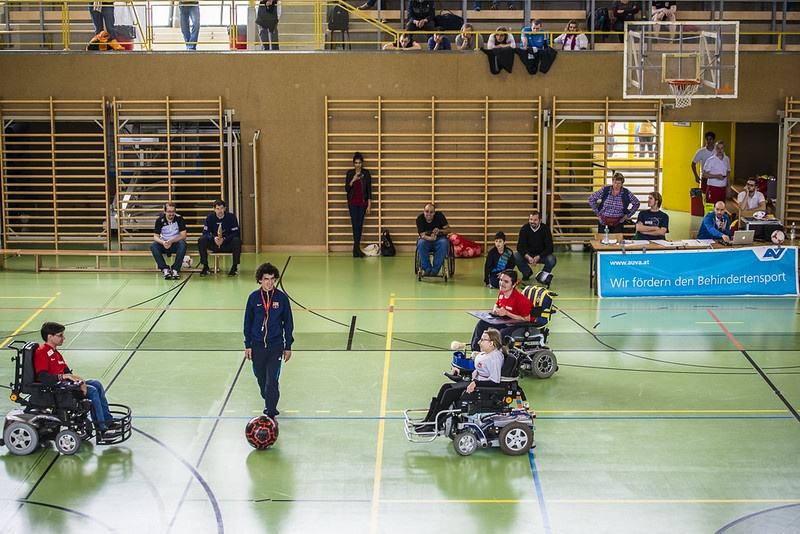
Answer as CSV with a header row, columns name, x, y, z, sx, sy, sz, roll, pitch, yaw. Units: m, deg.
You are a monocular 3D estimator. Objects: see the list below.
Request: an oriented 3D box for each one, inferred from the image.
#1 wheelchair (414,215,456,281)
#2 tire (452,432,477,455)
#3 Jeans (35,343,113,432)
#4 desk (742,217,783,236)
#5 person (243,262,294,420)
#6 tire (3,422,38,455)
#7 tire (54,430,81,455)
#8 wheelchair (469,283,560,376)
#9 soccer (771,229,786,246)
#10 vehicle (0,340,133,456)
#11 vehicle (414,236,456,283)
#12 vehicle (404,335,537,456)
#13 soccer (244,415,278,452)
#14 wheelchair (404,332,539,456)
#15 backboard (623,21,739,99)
name,x,y,z,sx,sy,sz,roll,pitch,yaw
wheelchair,0.795,-0.649,20.980,0.906,1.774,1.110,-1,14,1
tire,0.939,2.620,12.871,0.239,0.245,0.094,31,3,-13
Jeans,-4.879,1.736,12.992,0.825,1.432,0.634,-9,6,5
desk,8.160,-0.850,19.713,0.814,0.417,0.726,3,14,13
person,-2.040,1.201,13.476,0.725,2.468,0.486,-3,14,-12
tire,-5.596,2.523,12.807,0.431,0.460,0.142,4,5,-4
tire,-4.902,2.591,12.817,0.318,0.339,0.109,7,5,-2
wheelchair,2.154,1.141,15.693,1.511,1.374,1.286,-2,7,19
soccer,8.416,-0.634,19.462,0.295,0.302,0.169,10,-19,30
vehicle,-5.119,1.911,13.523,2.027,1.729,1.376,-1,8,-8
vehicle,0.836,-0.107,21.385,0.650,1.055,1.200,1,2,3
vehicle,1.020,1.982,13.773,2.081,1.994,1.377,1,5,-1
soccer,-2.108,2.473,13.037,0.452,0.486,0.468,5,-1,-29
wheelchair,1.055,1.859,13.344,1.969,1.789,1.344,2,3,0
backboard,7.526,-5.276,22.339,2.805,2.016,6.920,8,16,30
